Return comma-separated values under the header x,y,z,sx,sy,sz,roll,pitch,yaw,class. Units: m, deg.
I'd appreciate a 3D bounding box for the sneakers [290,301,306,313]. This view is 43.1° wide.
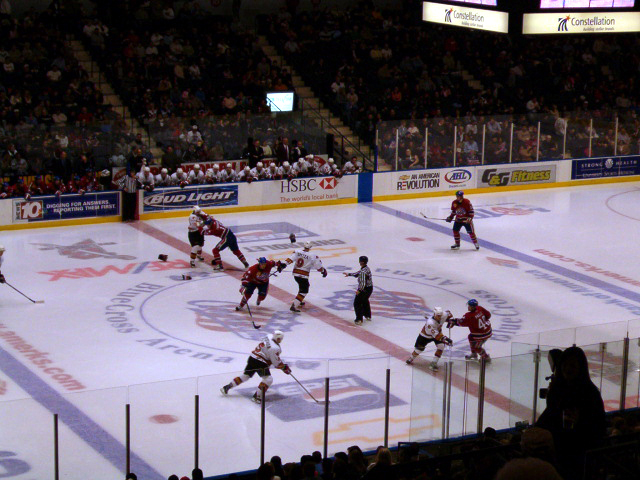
x,y,z,sx,sy,sz,roll,pitch,yaw,class
-0.458,1.479,18.250,0.452,0.280,0.142,-8,31,-33,sneakers

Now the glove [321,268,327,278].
x,y,z,sx,sy,sz,roll,pitch,yaw,class
0.106,0.737,18.725,0.178,0.203,0.228,-1,3,1,glove

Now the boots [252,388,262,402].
x,y,z,sx,sy,sz,roll,pitch,yaw,class
-0.807,2.029,10.611,0.135,0.162,0.123,0,8,9,boots

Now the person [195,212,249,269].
x,y,z,sx,sy,sz,roll,pitch,yaw,class
-2.505,-0.005,20.973,1.050,1.524,0.945,-7,10,-37,person

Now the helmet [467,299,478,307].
x,y,z,sx,sy,sz,roll,pitch,yaw,class
2.926,1.205,15.291,0.221,0.143,0.201,0,12,-3,helmet

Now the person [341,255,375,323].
x,y,z,sx,sy,sz,roll,pitch,yaw,class
0.879,1.038,17.698,0.541,1.429,0.853,-1,8,2,person

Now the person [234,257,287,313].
x,y,z,sx,sy,sz,roll,pitch,yaw,class
-1.384,0.972,17.993,0.981,1.346,0.652,-8,32,-29,person

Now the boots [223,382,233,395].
x,y,z,sx,sy,sz,roll,pitch,yaw,class
-1.198,1.909,10.439,0.070,0.194,0.084,-1,45,-50,boots

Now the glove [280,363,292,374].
x,y,z,sx,sy,sz,roll,pitch,yaw,class
-0.512,1.993,12.629,0.195,0.091,0.303,19,-1,25,glove

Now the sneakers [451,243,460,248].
x,y,z,sx,sy,sz,roll,pitch,yaw,class
3.934,0.157,23.414,0.231,0.150,0.094,3,14,4,sneakers

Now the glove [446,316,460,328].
x,y,z,sx,sy,sz,roll,pitch,yaw,class
2.514,1.545,15.302,0.209,0.092,0.236,-3,13,-6,glove

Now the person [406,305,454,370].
x,y,z,sx,sy,sz,roll,pitch,yaw,class
2.189,1.836,15.276,0.626,1.338,1.079,-5,17,-26,person

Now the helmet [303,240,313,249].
x,y,z,sx,sy,sz,roll,pitch,yaw,class
-0.283,0.122,18.566,0.143,0.150,0.174,14,30,24,helmet

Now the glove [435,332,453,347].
x,y,z,sx,sy,sz,roll,pitch,yaw,class
2.346,1.846,15.109,0.275,0.078,0.253,-2,9,-18,glove

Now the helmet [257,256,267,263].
x,y,z,sx,sy,sz,roll,pitch,yaw,class
-1.242,0.424,17.766,0.161,0.154,0.187,0,0,-16,helmet

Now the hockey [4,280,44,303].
x,y,z,sx,sy,sz,roll,pitch,yaw,class
-6.915,1.199,18.827,0.969,0.101,0.103,28,-38,-18,hockey

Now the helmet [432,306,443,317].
x,y,z,sx,sy,sz,roll,pitch,yaw,class
2.217,1.312,15.058,0.221,0.220,0.264,1,-12,-1,helmet
